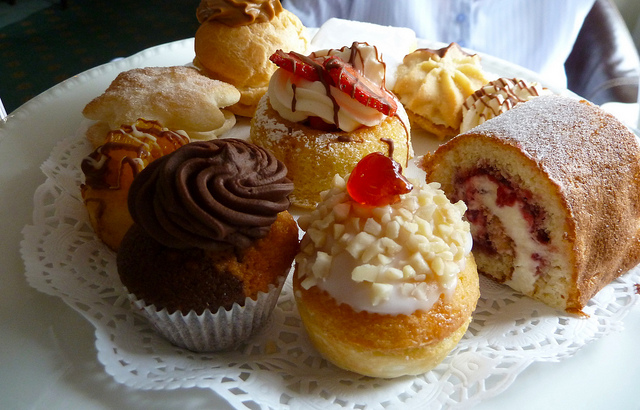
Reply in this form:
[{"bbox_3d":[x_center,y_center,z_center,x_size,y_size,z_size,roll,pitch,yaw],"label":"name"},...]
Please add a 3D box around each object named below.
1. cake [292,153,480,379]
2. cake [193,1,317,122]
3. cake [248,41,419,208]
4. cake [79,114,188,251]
[{"bbox_3d":[0.258,0.245,2.266,0.719,0.399,0.801,0,70,-3],"label":"cake"},{"bbox_3d":[-0.323,-0.777,3.252,0.612,0.604,0.610,0,26,-1],"label":"cake"},{"bbox_3d":[0.055,-0.377,2.894,0.746,0.542,0.764,0,29,-4],"label":"cake"},{"bbox_3d":[-0.854,-0.115,2.683,0.473,0.231,0.598,13,58,-2],"label":"cake"}]
